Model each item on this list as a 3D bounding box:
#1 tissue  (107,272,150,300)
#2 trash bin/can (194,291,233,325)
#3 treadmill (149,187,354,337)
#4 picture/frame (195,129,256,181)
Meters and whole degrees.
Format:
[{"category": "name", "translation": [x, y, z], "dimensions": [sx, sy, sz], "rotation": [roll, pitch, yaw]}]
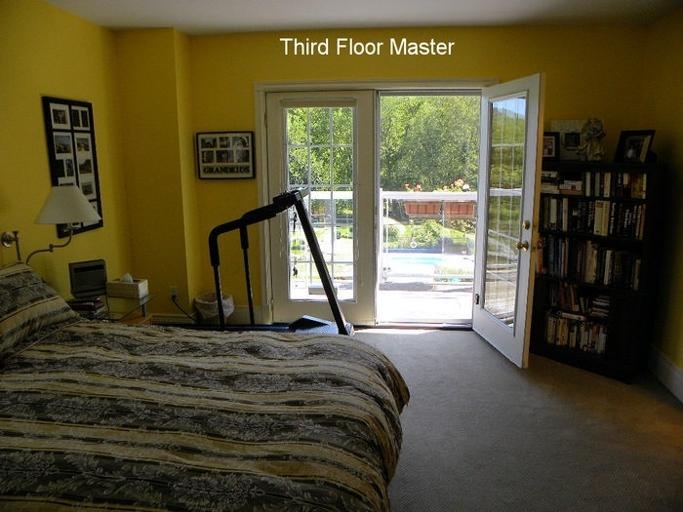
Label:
[{"category": "tissue ", "translation": [-1.727, 0.178, 4.147], "dimensions": [0.331, 0.220, 0.184], "rotation": [1, 1, 7]}, {"category": "trash bin/can", "translation": [-1.273, 0.502, 5.086], "dimensions": [0.356, 0.265, 0.364], "rotation": [2, 5, 12]}, {"category": "treadmill", "translation": [-0.517, 0.114, 3.725], "dimensions": [0.899, 1.000, 0.518], "rotation": [-3, 3, 9]}, {"category": "picture/frame", "translation": [-1.136, -1.001, 4.968], "dimensions": [0.582, 0.450, 0.127], "rotation": [3, 13, 14]}]
